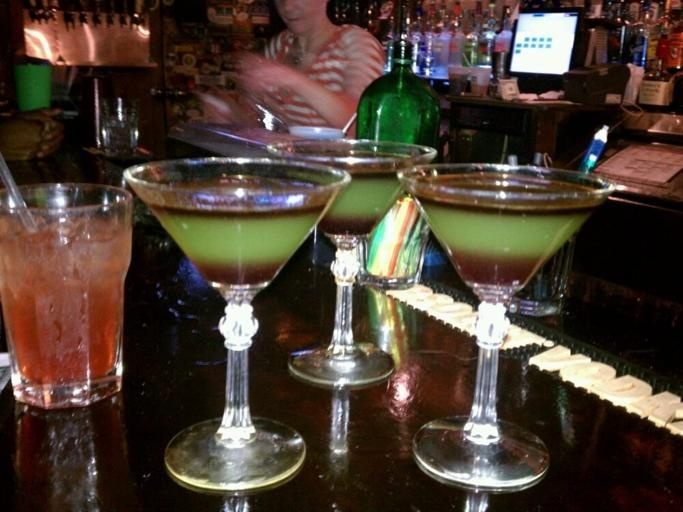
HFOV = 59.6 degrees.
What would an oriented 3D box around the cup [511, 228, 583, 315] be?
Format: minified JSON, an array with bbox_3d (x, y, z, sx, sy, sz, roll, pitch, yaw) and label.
[{"bbox_3d":[0.399,0.029,1.190,0.120,0.170,0.118,-2,-2,0],"label":"cup"}]

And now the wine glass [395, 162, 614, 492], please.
[{"bbox_3d":[0.194,0.070,0.835,0.274,0.350,0.365,11,24,22],"label":"wine glass"}]

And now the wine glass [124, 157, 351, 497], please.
[{"bbox_3d":[-0.117,0.056,0.920,0.411,0.474,0.379,3,14,-3],"label":"wine glass"}]

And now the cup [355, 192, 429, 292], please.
[{"bbox_3d":[0.110,-0.033,1.298,0.169,0.175,0.168,6,12,-1],"label":"cup"}]

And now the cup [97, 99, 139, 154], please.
[{"bbox_3d":[-0.874,-0.518,2.337,0.151,0.196,0.189,-7,23,-20],"label":"cup"}]

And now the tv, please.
[{"bbox_3d":[1.224,-1.315,3.680,0.486,0.398,0.047,-8,27,-22],"label":"tv"}]

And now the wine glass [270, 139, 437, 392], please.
[{"bbox_3d":[0.021,-0.008,1.059,0.392,0.435,0.377,0,10,-6],"label":"wine glass"}]
